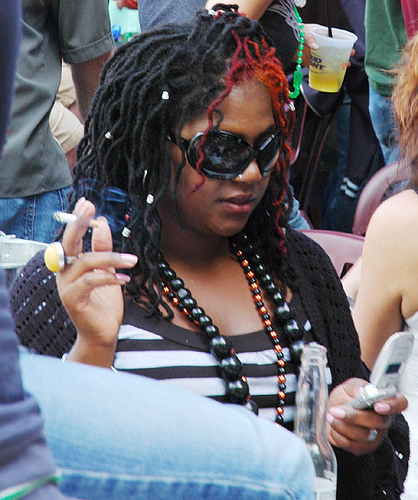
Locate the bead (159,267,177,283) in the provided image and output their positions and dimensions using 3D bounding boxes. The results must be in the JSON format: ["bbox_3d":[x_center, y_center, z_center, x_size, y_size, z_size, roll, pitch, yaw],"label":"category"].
[{"bbox_3d":[-0.102,0.055,1.603,0.033,0.037,0.022,5,30,3],"label":"bead"}]

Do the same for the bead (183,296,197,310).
[{"bbox_3d":[-0.044,0.123,1.560,0.025,0.028,0.015,36,45,9],"label":"bead"}]

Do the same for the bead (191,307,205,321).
[{"bbox_3d":[-0.024,0.147,1.550,0.024,0.030,0.023,-3,65,9],"label":"bead"}]

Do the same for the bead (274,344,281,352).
[{"bbox_3d":[0.164,0.236,1.617,0.016,0.024,0.014,-2,10,9],"label":"bead"}]

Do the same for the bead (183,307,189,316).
[{"bbox_3d":[-0.054,0.146,1.573,0.010,0.004,0.017,23,25,-33],"label":"bead"}]

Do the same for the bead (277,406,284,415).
[{"bbox_3d":[0.165,0.374,1.566,0.015,0.015,0.017,3,32,4],"label":"bead"}]

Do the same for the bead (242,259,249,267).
[{"bbox_3d":[0.094,0.036,1.777,0.016,0.014,0.014,6,5,9],"label":"bead"}]

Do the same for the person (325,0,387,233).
[{"bbox_3d":[0.782,-0.746,3.566,0.319,0.854,1.164,14,33,10],"label":"person"}]

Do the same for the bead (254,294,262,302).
[{"bbox_3d":[0.123,0.122,1.704,0.017,0.015,0.027,8,0,0],"label":"bead"}]

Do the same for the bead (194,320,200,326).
[{"bbox_3d":[-0.029,0.170,1.561,0.013,0.011,0.011,-1,10,-16],"label":"bead"}]

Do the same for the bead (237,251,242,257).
[{"bbox_3d":[0.080,0.010,1.797,0.012,0.011,0.004,-2,-15,26],"label":"bead"}]

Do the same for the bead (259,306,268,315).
[{"bbox_3d":[0.135,0.151,1.679,0.014,0.017,0.014,-1,-11,5],"label":"bead"}]

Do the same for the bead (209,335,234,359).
[{"bbox_3d":[0.028,0.218,1.512,0.043,0.041,0.056,-13,-37,44],"label":"bead"}]

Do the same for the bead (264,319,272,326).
[{"bbox_3d":[0.143,0.180,1.655,0.014,0.011,0.022,7,3,-8],"label":"bead"}]

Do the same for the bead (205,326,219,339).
[{"bbox_3d":[0.008,0.190,1.529,0.024,0.025,0.029,4,62,-1],"label":"bead"}]

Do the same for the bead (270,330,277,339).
[{"bbox_3d":[0.156,0.206,1.634,0.008,0.009,0.018,28,37,-33],"label":"bead"}]

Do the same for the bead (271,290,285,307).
[{"bbox_3d":[0.173,0.124,1.701,0.029,0.014,0.036,26,43,-34],"label":"bead"}]

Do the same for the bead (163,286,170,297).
[{"bbox_3d":[-0.101,0.099,1.591,0.019,0.023,0.008,-2,-7,-3],"label":"bead"}]

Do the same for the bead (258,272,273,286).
[{"bbox_3d":[0.145,0.075,1.743,0.029,0.013,0.036,-5,-9,-4],"label":"bead"}]

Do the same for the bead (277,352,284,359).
[{"bbox_3d":[0.169,0.253,1.612,0.010,0.004,0.013,-7,63,12],"label":"bead"}]

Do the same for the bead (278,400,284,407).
[{"bbox_3d":[0.167,0.357,1.572,0.012,0.010,0.011,-1,0,8],"label":"bead"}]

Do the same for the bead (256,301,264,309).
[{"bbox_3d":[0.127,0.139,1.690,0.012,0.007,0.019,-2,27,14],"label":"bead"}]

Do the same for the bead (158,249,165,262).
[{"bbox_3d":[-0.115,0.018,1.620,0.018,0.022,0.023,-9,3,-13],"label":"bead"}]

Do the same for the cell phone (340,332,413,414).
[{"bbox_3d":[0.376,0.282,1.526,0.110,0.222,0.124,15,36,21],"label":"cell phone"}]

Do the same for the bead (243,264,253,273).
[{"bbox_3d":[0.102,0.052,1.774,0.020,0.018,0.031,0,4,19],"label":"bead"}]

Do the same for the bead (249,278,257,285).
[{"bbox_3d":[0.111,0.082,1.741,0.024,0.013,0.014,3,6,-29],"label":"bead"}]

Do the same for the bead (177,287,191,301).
[{"bbox_3d":[-0.061,0.104,1.576,0.025,0.029,0.011,3,4,8],"label":"bead"}]

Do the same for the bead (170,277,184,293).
[{"bbox_3d":[-0.076,0.081,1.586,0.033,0.030,0.035,8,33,-4],"label":"bead"}]

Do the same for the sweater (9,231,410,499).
[{"bbox_3d":[0.012,0.193,1.230,0.685,0.363,0.605,3,58,-36],"label":"sweater"}]

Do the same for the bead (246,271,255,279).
[{"bbox_3d":[0.106,0.065,1.753,0.019,0.016,0.032,18,10,-1],"label":"bead"}]

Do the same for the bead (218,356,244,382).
[{"bbox_3d":[0.048,0.265,1.496,0.046,0.055,0.042,-2,50,1],"label":"bead"}]

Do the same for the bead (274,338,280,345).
[{"bbox_3d":[0.162,0.222,1.626,0.008,0.013,0.003,24,-20,-10],"label":"bead"}]

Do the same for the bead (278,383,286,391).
[{"bbox_3d":[0.171,0.322,1.582,0.019,0.017,0.018,-2,33,-5],"label":"bead"}]

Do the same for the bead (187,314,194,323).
[{"bbox_3d":[-0.043,0.160,1.568,0.013,0.017,0.005,3,23,39],"label":"bead"}]

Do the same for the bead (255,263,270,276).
[{"bbox_3d":[0.136,0.052,1.763,0.031,0.012,0.033,-1,61,-4],"label":"bead"}]
